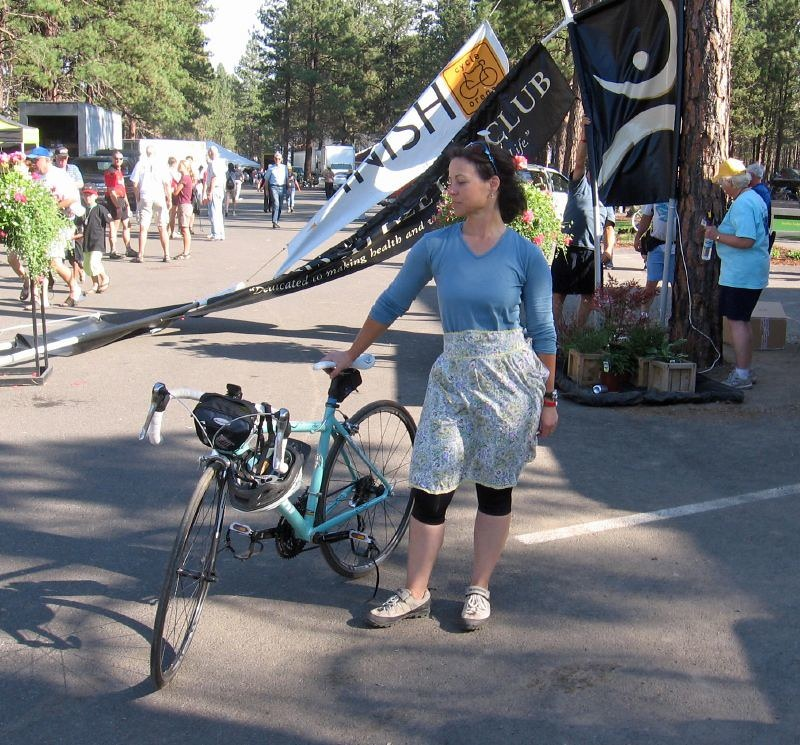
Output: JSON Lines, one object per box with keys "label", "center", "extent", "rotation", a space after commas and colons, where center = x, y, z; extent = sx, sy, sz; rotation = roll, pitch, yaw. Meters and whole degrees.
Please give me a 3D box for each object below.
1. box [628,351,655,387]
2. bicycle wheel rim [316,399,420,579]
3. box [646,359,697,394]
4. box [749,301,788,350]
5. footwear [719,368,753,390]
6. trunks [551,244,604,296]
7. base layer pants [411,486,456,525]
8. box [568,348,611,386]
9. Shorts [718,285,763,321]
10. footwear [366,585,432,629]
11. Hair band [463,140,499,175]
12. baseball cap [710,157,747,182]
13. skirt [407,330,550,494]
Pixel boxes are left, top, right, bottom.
{"label": "box", "center": [2.252, -0.043, 7.936], "extent": [0.225, 0.329, 0.290], "rotation": [-2, 16, -10]}
{"label": "bicycle wheel rim", "center": [-0.161, 0.588, 4.059], "extent": [0.308, 0.736, 0.754], "rotation": [14, 3, 19]}
{"label": "box", "center": [2.468, 0.013, 7.666], "extent": [0.329, 0.335, 0.338], "rotation": [-1, 12, -22]}
{"label": "box", "center": [4.367, -0.545, 9.898], "extent": [0.312, 0.300, 0.594], "rotation": [5, 26, 18]}
{"label": "footwear", "center": [3.239, 0.067, 8.018], "extent": [0.450, 0.207, 0.172], "rotation": [0, 2, -6]}
{"label": "trunks", "center": [1.929, -1.115, 9.191], "extent": [0.588, 0.551, 0.234], "rotation": [0, 9, -20]}
{"label": "base layer pants", "center": [0.117, 0.576, 3.591], "extent": [0.196, 0.150, 0.246], "rotation": [-3, -32, -8]}
{"label": "box", "center": [1.810, -0.066, 7.945], "extent": [0.310, 0.286, 0.322], "rotation": [0, 31, 1]}
{"label": "Shorts", "center": [3.265, -0.684, 8.081], "extent": [0.424, 0.316, 0.306], "rotation": [-1, 12, -21]}
{"label": "footwear", "center": [0.001, 1.035, 3.745], "extent": [0.336, 0.151, 0.119], "rotation": [-3, 5, -32]}
{"label": "Hair band", "center": [0.341, -0.910, 3.484], "extent": [0.042, 0.146, 0.139], "rotation": [-16, 32, -10]}
{"label": "baseball cap", "center": [3.145, -1.924, 7.978], "extent": [0.222, 0.177, 0.315], "rotation": [-11, 13, -12]}
{"label": "skirt", "center": [0.350, 0.152, 3.531], "extent": [0.574, 0.681, 0.199], "rotation": [2, 9, -4]}
